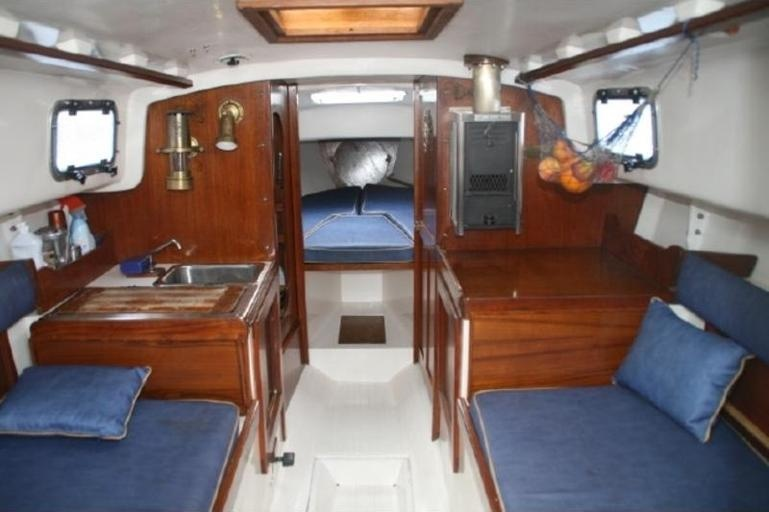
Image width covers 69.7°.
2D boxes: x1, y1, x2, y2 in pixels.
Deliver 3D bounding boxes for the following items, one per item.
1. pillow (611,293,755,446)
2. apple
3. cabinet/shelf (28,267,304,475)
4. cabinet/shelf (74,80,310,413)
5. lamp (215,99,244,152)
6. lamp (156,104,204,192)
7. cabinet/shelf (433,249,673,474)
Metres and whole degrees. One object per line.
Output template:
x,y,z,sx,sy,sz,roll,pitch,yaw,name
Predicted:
1.115,0.420,2.074,0.141,0.432,0.476,13,20,-29,pillow
0.878,-0.385,2.541,0.249,0.191,0.109,10,40,44,apple
-1.028,0.309,2.811,0.894,0.889,1.261,-1,18,-3,cabinet/shelf
-1.368,-0.419,4.632,1.738,3.178,1.546,1,10,0,cabinet/shelf
-0.824,-0.708,2.965,0.138,0.255,0.146,-2,13,-9,lamp
-1.104,-0.572,3.015,0.233,0.431,0.127,-4,14,-15,lamp
0.768,0.380,2.820,1.007,0.937,0.998,0,12,4,cabinet/shelf
